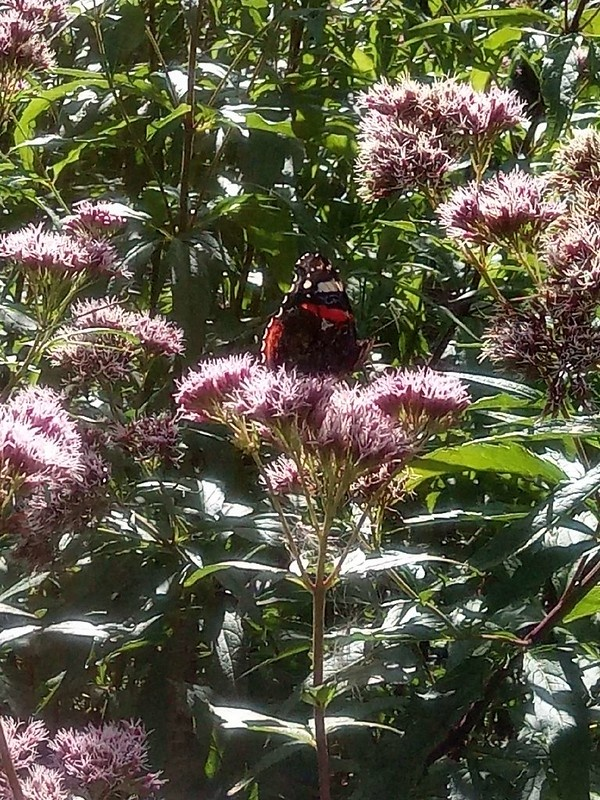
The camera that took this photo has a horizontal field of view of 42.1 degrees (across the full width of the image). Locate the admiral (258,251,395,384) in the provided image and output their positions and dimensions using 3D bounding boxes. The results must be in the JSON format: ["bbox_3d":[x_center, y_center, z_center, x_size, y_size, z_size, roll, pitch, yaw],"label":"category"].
[{"bbox_3d":[0.026,-0.201,1.764,0.250,0.299,0.336,2,3,16],"label":"admiral"}]
